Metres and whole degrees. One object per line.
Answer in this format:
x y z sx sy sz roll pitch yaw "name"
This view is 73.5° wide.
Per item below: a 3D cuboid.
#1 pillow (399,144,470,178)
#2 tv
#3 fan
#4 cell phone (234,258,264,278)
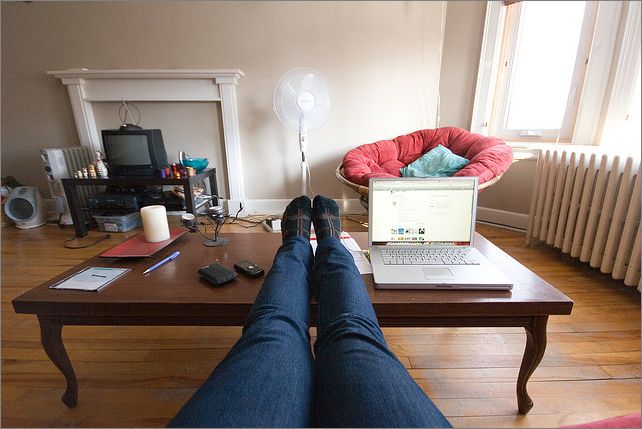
1.018 -0.477 3.835 0.374 0.259 0.524 -15 20 -38 "pillow"
-1.733 -0.575 3.988 0.452 0.356 0.229 -1 19 -3 "tv"
-0.140 -0.774 4.126 0.538 1.199 0.179 0 18 7 "fan"
-0.408 0.315 2.478 0.153 0.043 0.085 26 33 35 "cell phone"
